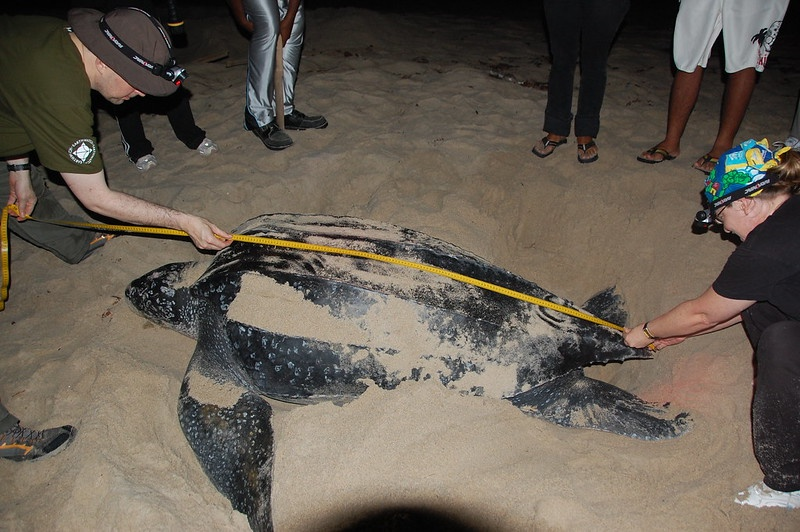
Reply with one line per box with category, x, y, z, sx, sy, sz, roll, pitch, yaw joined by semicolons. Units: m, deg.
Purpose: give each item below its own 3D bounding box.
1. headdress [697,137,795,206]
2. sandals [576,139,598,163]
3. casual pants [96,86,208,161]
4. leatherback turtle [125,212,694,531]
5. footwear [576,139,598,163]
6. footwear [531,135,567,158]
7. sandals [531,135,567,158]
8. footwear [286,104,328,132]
headdress;2.259;-0.656;4.459;0.518;0.387;0.370;-32;5;26
sandals;1.784;-1.083;6.276;0.203;0.147;0.194;5;49;9
casual pants;-2.597;-1.464;6.783;0.857;0.351;1.140;-24;28;-32
leatherback turtle;0.055;0.846;5.044;2.952;0.898;2.141;9;55;7
footwear;1.784;-1.083;6.276;0.203;0.147;0.194;5;49;9
footwear;1.460;-1.159;6.467;0.367;0.120;0.164;-39;66;-4
sandals;1.451;-1.179;6.421;0.367;0.120;0.164;-39;66;-4
footwear;-0.890;-1.507;6.845;0.532;0.230;0.179;-1;24;3
